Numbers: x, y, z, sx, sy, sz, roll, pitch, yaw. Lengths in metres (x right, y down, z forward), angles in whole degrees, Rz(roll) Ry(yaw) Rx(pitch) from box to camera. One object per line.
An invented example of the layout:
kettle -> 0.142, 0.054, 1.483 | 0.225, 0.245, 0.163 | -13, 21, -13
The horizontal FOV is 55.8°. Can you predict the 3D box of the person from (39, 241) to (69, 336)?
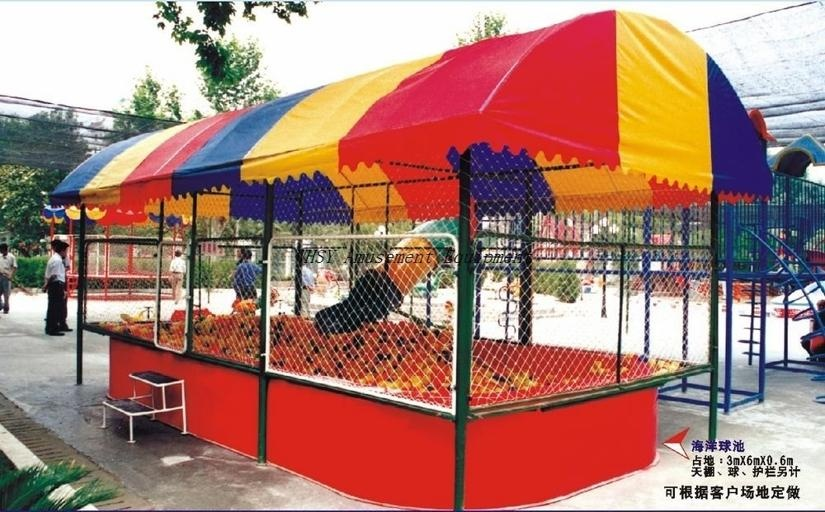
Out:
person -> -9.522, 0.771, 20.624 | 0.623, 2.586, 1.244 | -4, 12, -24
